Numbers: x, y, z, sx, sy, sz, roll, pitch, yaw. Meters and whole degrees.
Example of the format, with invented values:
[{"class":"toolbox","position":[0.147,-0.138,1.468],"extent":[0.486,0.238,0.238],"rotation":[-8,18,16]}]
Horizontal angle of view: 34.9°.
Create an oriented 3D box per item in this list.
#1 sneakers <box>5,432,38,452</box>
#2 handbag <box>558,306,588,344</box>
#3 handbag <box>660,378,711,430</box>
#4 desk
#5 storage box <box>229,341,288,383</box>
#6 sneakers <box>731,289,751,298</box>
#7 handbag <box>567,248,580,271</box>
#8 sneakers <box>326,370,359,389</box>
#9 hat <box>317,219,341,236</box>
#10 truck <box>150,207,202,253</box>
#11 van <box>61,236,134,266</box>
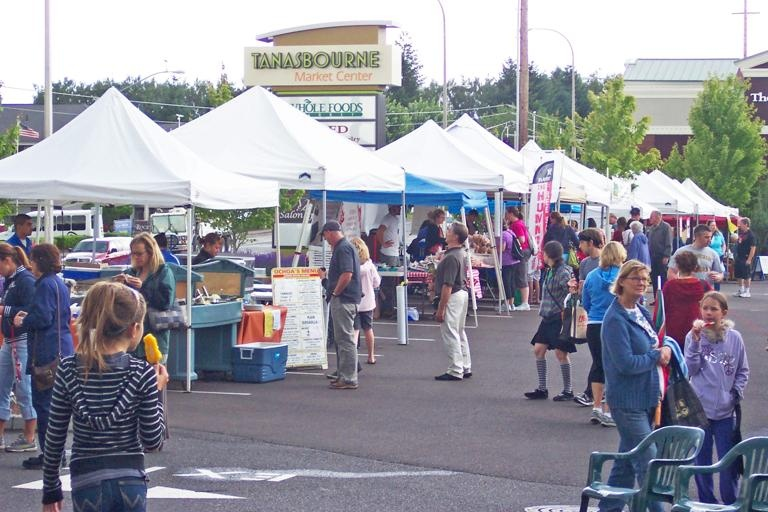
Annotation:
[{"class":"sneakers","position":[-4.471,2.344,15.162],"extent":[0.392,0.230,0.158],"rotation":[0,-3,0]},{"class":"handbag","position":[2.667,0.961,17.012],"extent":[0.456,0.475,0.313],"rotation":[-8,9,-44]},{"class":"handbag","position":[3.287,1.650,13.384],"extent":[0.513,0.712,0.265],"rotation":[-2,9,35]},{"class":"desk","position":[1.610,0.433,26.015],"extent":[1.717,1.221,1.778],"rotation":[4,8,33]},{"class":"storage box","position":[-1.913,1.654,18.758],"extent":[0.493,0.495,0.769],"rotation":[0,-3,27]},{"class":"sneakers","position":[9.544,1.030,32.491],"extent":[0.203,0.289,0.628],"rotation":[0,6,-9]},{"class":"handbag","position":[3.779,0.082,24.342],"extent":[0.181,0.508,0.458],"rotation":[-3,0,13]},{"class":"sneakers","position":[-0.655,1.883,18.375],"extent":[0.535,0.252,0.187],"rotation":[6,7,23]},{"class":"hat","position":[-0.823,-0.427,18.286],"extent":[0.242,0.154,0.174],"rotation":[4,8,30]},{"class":"truck","position":[-4.640,-0.565,27.526],"extent":[1.130,1.280,1.974],"rotation":[2,-2,-4]},{"class":"van","position":[-8.085,-0.132,34.871],"extent":[0.821,0.822,1.898],"rotation":[0,-2,12]}]
